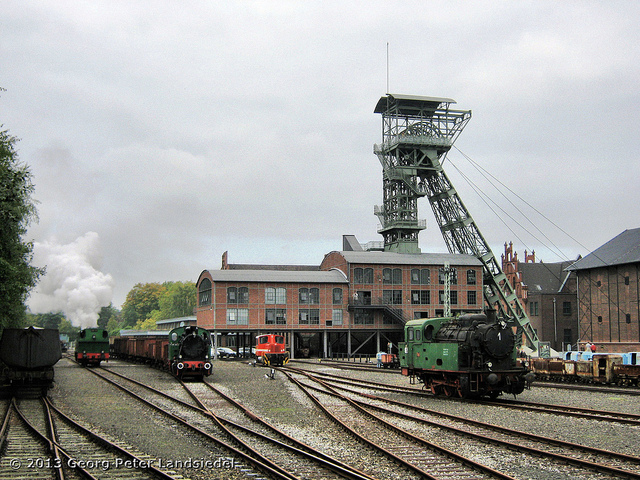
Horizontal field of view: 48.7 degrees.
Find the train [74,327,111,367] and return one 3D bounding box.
[{"bbox_3d":[-18.028,8.485,56.096,2.370,3.075,1.657,3,-11,-14],"label":"train"}]

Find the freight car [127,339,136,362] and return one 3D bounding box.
[{"bbox_3d":[-17.035,9.957,64.184,1.146,2.299,2.211,0,-7,-9],"label":"freight car"}]

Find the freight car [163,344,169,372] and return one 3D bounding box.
[{"bbox_3d":[-10.454,8.072,48.379,0.359,1.808,4.034,2,-13,-12],"label":"freight car"}]

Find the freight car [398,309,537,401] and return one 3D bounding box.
[{"bbox_3d":[6.965,5.812,34.732,3.138,4.021,6.968,2,-10,-21],"label":"freight car"}]

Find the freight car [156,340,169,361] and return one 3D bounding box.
[{"bbox_3d":[-10.936,7.661,49.365,0.994,2.088,1.946,1,-6,-14],"label":"freight car"}]

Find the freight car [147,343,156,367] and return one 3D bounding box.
[{"bbox_3d":[-12.943,8.748,54.509,0.908,1.443,1.884,2,-9,-15],"label":"freight car"}]

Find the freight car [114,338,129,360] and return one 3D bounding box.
[{"bbox_3d":[-19.343,10.569,69.499,0.622,2.432,8.464,4,-13,-19],"label":"freight car"}]
